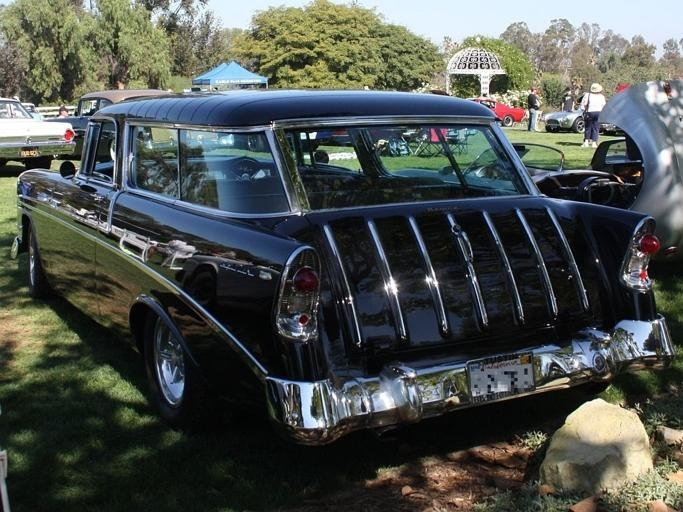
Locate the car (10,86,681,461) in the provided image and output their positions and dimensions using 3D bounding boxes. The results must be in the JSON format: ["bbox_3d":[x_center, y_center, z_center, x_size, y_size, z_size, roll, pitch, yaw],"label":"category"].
[{"bbox_3d":[-0.551,-0.074,3.744,2.277,1.224,3.682,-7,17,-38],"label":"car"}]
